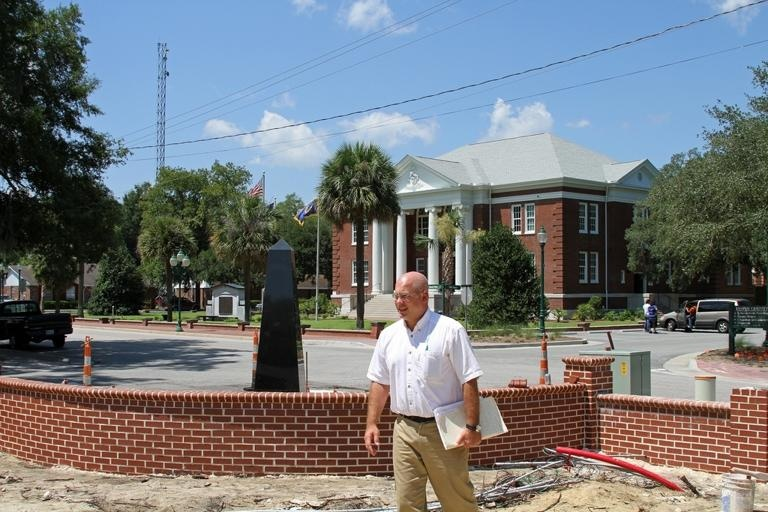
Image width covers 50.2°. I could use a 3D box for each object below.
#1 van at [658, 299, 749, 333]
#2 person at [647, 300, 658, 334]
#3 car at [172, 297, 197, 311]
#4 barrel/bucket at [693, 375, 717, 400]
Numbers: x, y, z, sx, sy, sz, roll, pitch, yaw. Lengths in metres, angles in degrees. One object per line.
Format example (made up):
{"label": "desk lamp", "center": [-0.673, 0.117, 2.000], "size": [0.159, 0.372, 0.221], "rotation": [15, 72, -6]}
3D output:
{"label": "van", "center": [17.125, 3.111, 44.472], "size": [3.845, 1.866, 4.624], "rotation": [-2, -6, 20]}
{"label": "person", "center": [14.313, 3.199, 43.911], "size": [0.439, 1.592, 1.555], "rotation": [-1, -5, 18]}
{"label": "car", "center": [-19.751, 4.640, 81.190], "size": [3.257, 1.634, 2.479], "rotation": [-1, -2, 45]}
{"label": "barrel/bucket", "center": [6.001, 2.432, 15.341], "size": [0.334, 0.432, 0.678], "rotation": [-1, -5, 19]}
